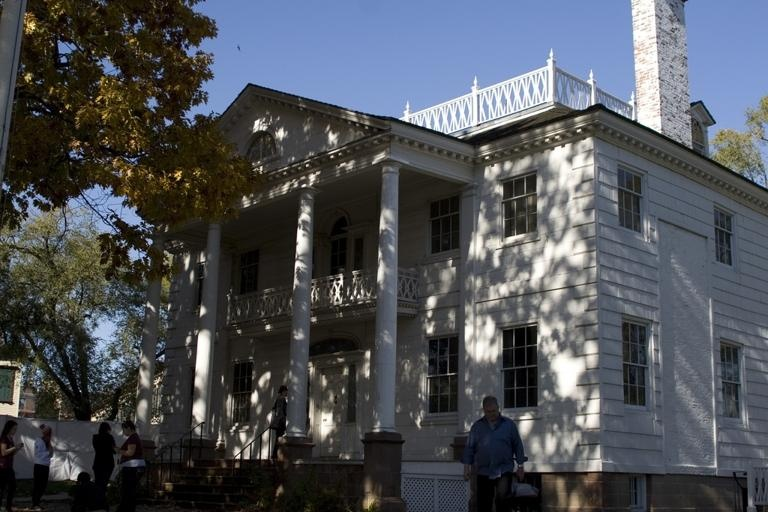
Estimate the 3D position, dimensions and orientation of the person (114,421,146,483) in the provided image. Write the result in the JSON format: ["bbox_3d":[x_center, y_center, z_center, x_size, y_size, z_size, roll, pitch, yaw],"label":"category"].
[{"bbox_3d":[-6.043,4.499,18.453,0.656,1.350,1.143,8,-21,-17],"label":"person"}]

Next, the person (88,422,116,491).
[{"bbox_3d":[-6.734,4.725,18.458,0.524,1.676,1.522,8,-21,-18],"label":"person"}]

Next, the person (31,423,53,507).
[{"bbox_3d":[-9.309,5.626,20.883,0.461,2.184,1.172,10,-21,-22],"label":"person"}]
